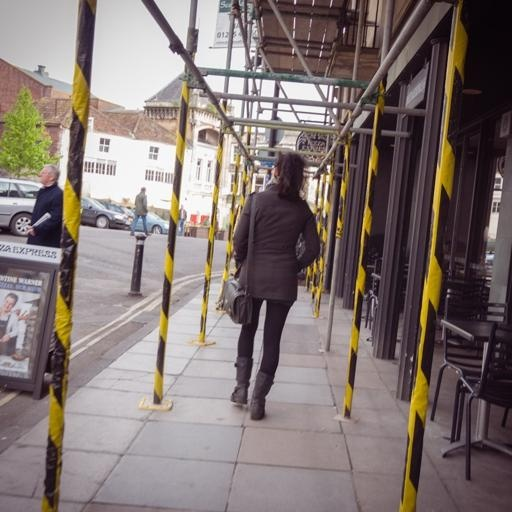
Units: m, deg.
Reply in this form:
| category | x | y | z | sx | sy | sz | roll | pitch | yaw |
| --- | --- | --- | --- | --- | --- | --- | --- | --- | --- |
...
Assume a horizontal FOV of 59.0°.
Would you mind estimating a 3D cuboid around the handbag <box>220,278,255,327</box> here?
| category | x | y | z | sx | sy | sz | roll | pitch | yaw |
| --- | --- | --- | --- | --- | --- | --- | --- | --- | --- |
| handbag | -0.109 | 0.387 | 3.599 | 0.128 | 0.309 | 0.409 | 13 | -10 | 6 |

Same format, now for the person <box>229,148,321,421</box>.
| category | x | y | z | sx | sy | sz | roll | pitch | yaw |
| --- | --- | --- | --- | --- | --- | --- | --- | --- | --- |
| person | 0.126 | 0.206 | 3.565 | 0.668 | 2.096 | 0.487 | 5 | 4 | 9 |

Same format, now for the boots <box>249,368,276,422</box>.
| category | x | y | z | sx | sy | sz | roll | pitch | yaw |
| --- | --- | --- | --- | --- | --- | --- | --- | --- | --- |
| boots | 0.030 | 1.060 | 3.465 | 0.124 | 0.353 | 0.186 | 8 | 5 | 41 |

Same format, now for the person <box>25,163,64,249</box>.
| category | x | y | z | sx | sy | sz | roll | pitch | yaw |
| --- | --- | --- | --- | --- | --- | --- | --- | --- | --- |
| person | -2.326 | -0.564 | 5.027 | 0.334 | 0.920 | 0.729 | 3 | 5 | -28 |
